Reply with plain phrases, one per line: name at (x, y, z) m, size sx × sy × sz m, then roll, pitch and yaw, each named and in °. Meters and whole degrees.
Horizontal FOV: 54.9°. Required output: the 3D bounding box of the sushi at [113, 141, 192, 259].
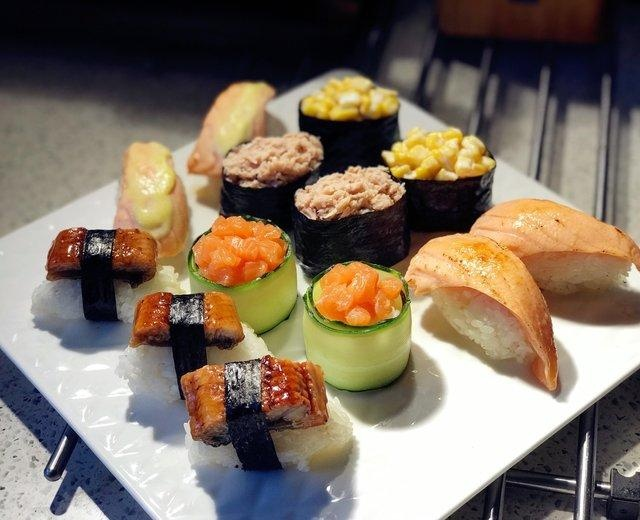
sushi at (-0.641, -0.285, 2.344) m, size 0.236 × 0.162 × 0.497 m, roll -6°, pitch 54°, yaw -7°
